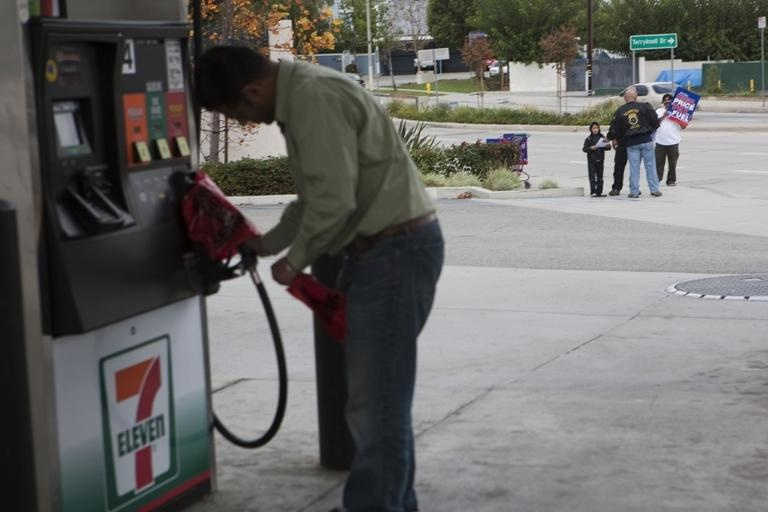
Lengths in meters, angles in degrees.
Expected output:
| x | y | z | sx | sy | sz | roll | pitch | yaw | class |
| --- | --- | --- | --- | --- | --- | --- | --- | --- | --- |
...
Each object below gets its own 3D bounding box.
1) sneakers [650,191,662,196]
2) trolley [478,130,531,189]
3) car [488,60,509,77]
| x | y | z | sx | sy | sz | roll | pitch | yaw | class |
| --- | --- | --- | --- | --- | --- | --- | --- | --- | --- |
| 5.302 | -1.232 | 15.566 | 0.201 | 0.093 | 0.292 | 2 | 12 | 17 | sneakers |
| 3.131 | -2.513 | 19.293 | 0.986 | 1.247 | 0.677 | 7 | 26 | 13 | trolley |
| 9.504 | -15.471 | 65.828 | 1.176 | 0.643 | 1.988 | -3 | 21 | -2 | car |
